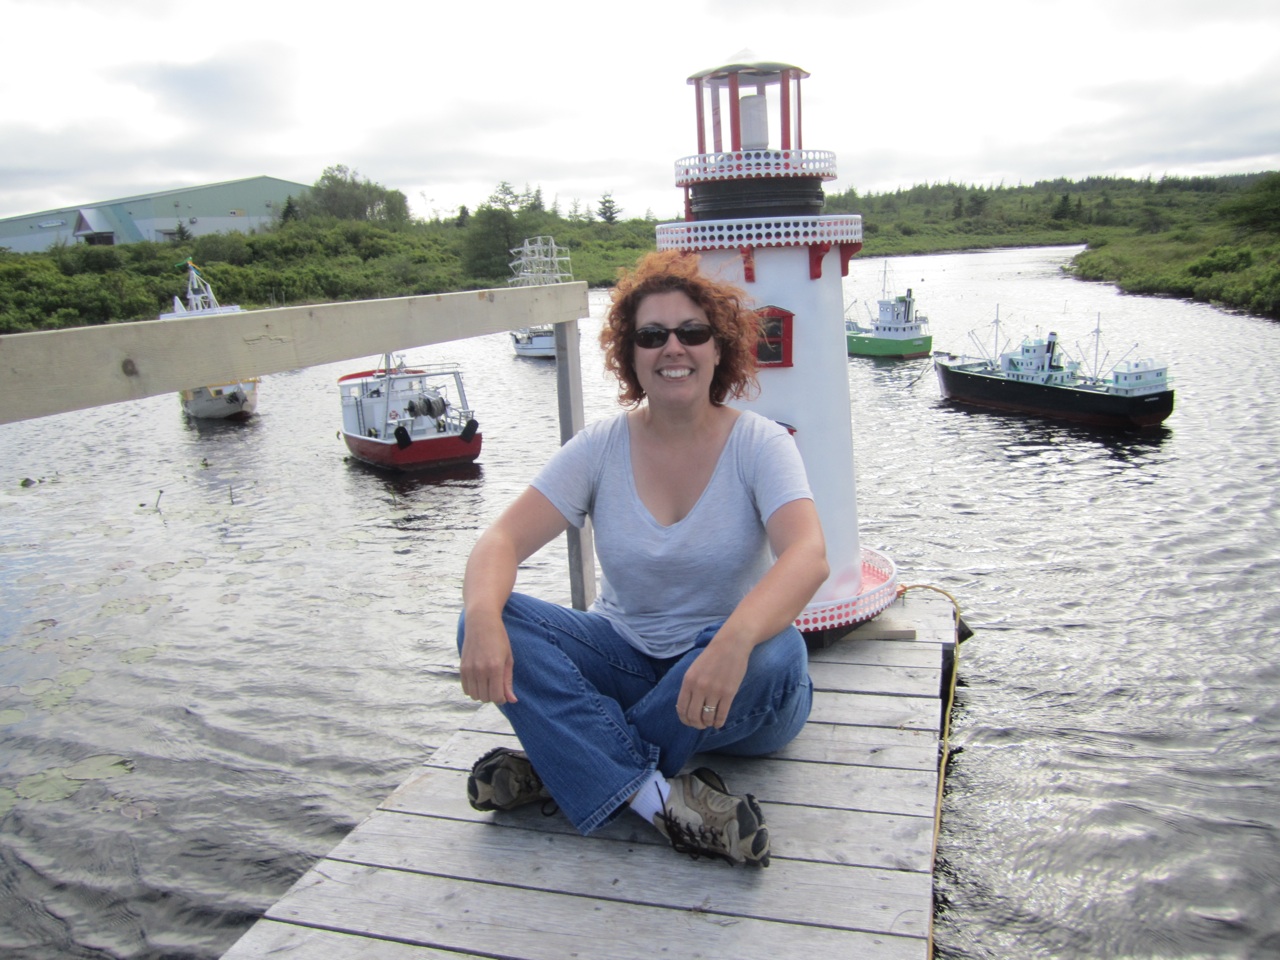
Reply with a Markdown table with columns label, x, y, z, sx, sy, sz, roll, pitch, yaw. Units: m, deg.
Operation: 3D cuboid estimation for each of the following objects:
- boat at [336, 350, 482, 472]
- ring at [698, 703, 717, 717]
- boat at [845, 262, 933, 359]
| label | x | y | z | sx | sy | sz | roll | pitch | yaw |
| --- | --- | --- | --- | --- | --- | --- | --- | --- | --- |
| boat | -6.095 | -1.640 | 26.300 | 2.755 | 1.830 | 4.855 | -9 | 16 | -28 |
| ring | 0.313 | 1.077 | 4.770 | 0.068 | 0.076 | 0.035 | 0 | 14 | 4 |
| boat | 10.627 | -6.750 | 44.307 | 2.722 | 2.926 | 3.973 | -7 | 16 | -7 |
